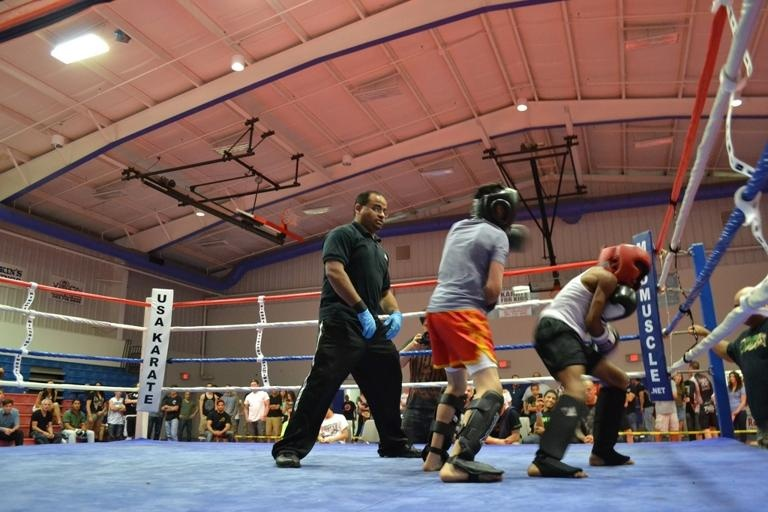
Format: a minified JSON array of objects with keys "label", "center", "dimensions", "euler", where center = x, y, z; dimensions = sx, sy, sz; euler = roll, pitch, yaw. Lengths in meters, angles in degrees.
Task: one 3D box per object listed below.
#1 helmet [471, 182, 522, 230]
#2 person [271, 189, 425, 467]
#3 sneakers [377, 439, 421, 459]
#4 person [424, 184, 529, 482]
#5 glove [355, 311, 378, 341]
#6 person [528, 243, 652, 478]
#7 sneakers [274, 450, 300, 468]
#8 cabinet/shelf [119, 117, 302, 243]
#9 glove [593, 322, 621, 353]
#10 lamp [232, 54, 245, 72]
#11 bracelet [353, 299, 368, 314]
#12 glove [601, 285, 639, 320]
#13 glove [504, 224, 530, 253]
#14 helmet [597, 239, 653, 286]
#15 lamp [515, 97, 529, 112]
[{"label":"helmet","center":[0.668,-0.289,2.850],"dimensions":[0.308,0.255,0.235],"euler":[-8,-1,-23]},{"label":"person","center":[-0.164,0.408,3.153],"dimensions":[0.569,1.771,0.832],"euler":[-14,-22,36]},{"label":"sneakers","center":[0.105,1.307,3.256],"dimensions":[0.322,0.124,0.108],"euler":[-2,-25,7]},{"label":"person","center":[0.503,0.377,2.693],"dimensions":[0.591,1.547,0.504],"euler":[-2,-18,4]},{"label":"glove","center":[-0.085,0.410,2.867],"dimensions":[0.139,0.156,0.056],"euler":[-22,19,-37]},{"label":"person","center":[1.168,0.535,2.619],"dimensions":[0.654,1.186,0.676],"euler":[-13,-22,34]},{"label":"sneakers","center":[-0.547,1.154,2.740],"dimensions":[0.154,0.074,0.119],"euler":[1,-16,-4]},{"label":"cabinet/shelf","center":[-4.061,-1.778,12.290],"dimensions":[3.807,1.721,3.773],"euler":[3,-17,-13]},{"label":"glove","center":[1.268,0.463,2.740],"dimensions":[0.101,0.117,0.269],"euler":[-41,-19,20]},{"label":"lamp","center":[-2.786,-3.634,9.153],"dimensions":[0.276,0.180,0.250],"euler":[-12,-37,7]},{"label":"bracelet","center":[-0.138,0.297,2.802],"dimensions":[0.073,0.049,0.067],"euler":[-4,-8,3]},{"label":"glove","center":[1.233,0.252,2.574],"dimensions":[0.207,0.166,0.158],"euler":[-8,-26,45]},{"label":"glove","center":[0.784,-0.106,2.870],"dimensions":[0.161,0.121,0.162],"euler":[2,-19,0]},{"label":"helmet","center":[1.312,0.051,2.670],"dimensions":[0.287,0.224,0.231],"euler":[4,-17,29]},{"label":"lamp","center":[3.324,-3.622,11.674],"dimensions":[0.300,0.265,0.306],"euler":[1,-22,3]}]
